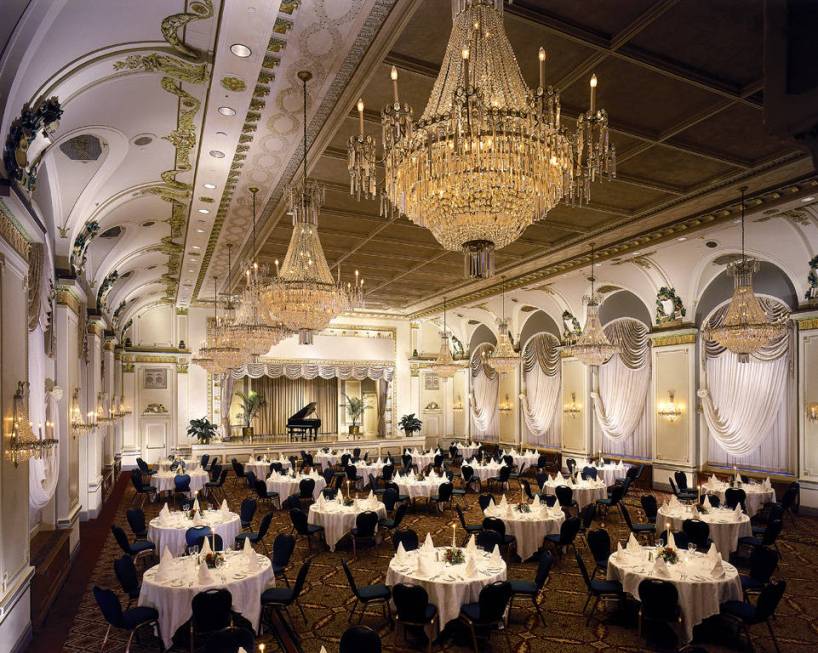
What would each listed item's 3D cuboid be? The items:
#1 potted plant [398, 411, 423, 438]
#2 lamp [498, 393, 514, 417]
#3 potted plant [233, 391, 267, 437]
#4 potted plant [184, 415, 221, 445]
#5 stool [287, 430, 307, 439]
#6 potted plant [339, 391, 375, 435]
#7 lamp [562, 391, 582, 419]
[{"bbox_3d":[0.052,3.629,23.501,0.662,0.767,0.690,-1,-5,38],"label":"potted plant"},{"bbox_3d":[3.368,2.699,21.981,0.222,0.873,0.614,7,-12,-21],"label":"lamp"},{"bbox_3d":[-6.203,3.264,24.499,1.309,1.985,1.468,-3,-17,9],"label":"potted plant"},{"bbox_3d":[-6.466,3.210,20.330,0.726,0.640,0.808,1,0,8],"label":"potted plant"},{"bbox_3d":[-3.839,3.702,22.024,0.477,0.385,0.342,3,-9,-20],"label":"stool"},{"bbox_3d":[-2.223,3.560,25.896,1.484,1.803,1.459,-1,-4,30],"label":"potted plant"},{"bbox_3d":[4.876,2.323,18.941,0.513,0.859,0.533,0,-1,40],"label":"lamp"}]
